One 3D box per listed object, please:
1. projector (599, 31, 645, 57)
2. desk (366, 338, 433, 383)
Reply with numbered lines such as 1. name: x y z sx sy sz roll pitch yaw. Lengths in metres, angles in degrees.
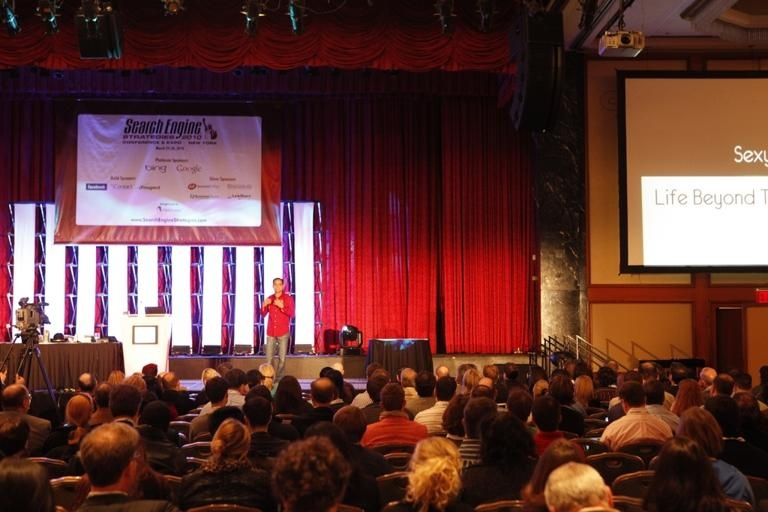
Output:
1. projector: 3.542 -3.241 11.392 0.546 0.383 0.431 -1 -5 1
2. desk: 0.322 1.786 13.009 0.780 0.491 0.776 0 -12 -3
